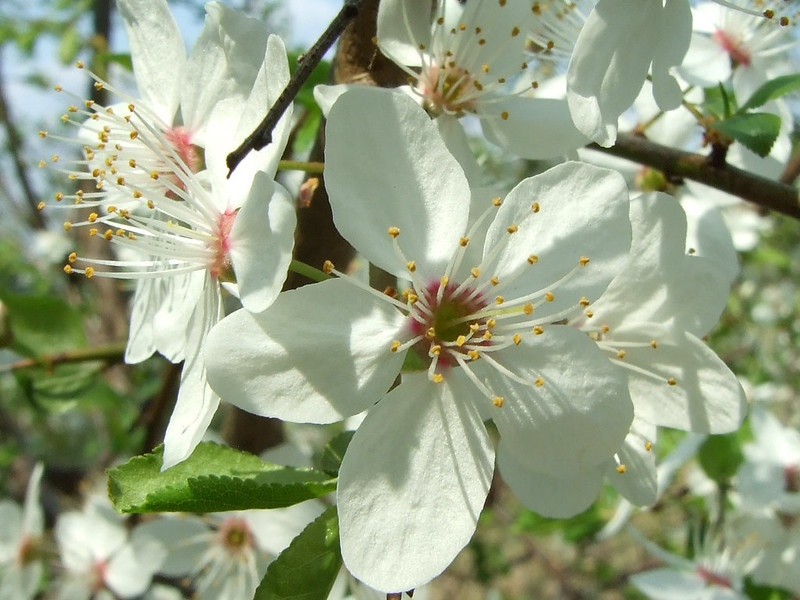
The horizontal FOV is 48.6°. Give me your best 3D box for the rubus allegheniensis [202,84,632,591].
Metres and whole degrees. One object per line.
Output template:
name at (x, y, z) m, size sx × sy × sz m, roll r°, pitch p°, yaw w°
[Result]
rubus allegheniensis at (0.070, 0.069, 1.462) m, size 0.668 × 0.177 × 0.785 m, roll 30°, pitch 82°, yaw 4°
